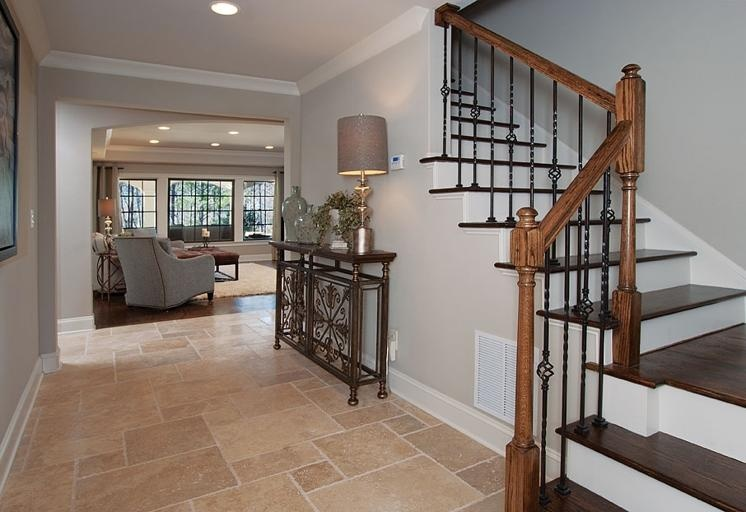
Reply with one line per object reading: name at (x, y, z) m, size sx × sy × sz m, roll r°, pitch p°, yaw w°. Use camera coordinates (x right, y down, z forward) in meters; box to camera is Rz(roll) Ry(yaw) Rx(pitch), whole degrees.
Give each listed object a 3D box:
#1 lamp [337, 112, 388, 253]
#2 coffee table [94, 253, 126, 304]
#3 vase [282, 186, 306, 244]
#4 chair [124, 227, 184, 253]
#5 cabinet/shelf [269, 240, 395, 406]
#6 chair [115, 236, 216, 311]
lamp at (-0.084, -0.613, 4.293) m, size 0.412 × 1.096 × 0.475 m, roll 1°, pitch 13°, yaw 2°
coffee table at (-4.120, 0.321, 8.027) m, size 0.611 × 0.689 × 0.623 m, roll 6°, pitch 9°, yaw -24°
vase at (-0.777, -0.413, 5.093) m, size 0.228 × 0.544 × 0.421 m, roll -5°, pitch 14°, yaw -21°
chair at (-3.660, -0.274, 8.398) m, size 0.701 × 0.622 × 0.676 m, roll 0°, pitch 5°, yaw -9°
cabinet/shelf at (-0.337, 0.611, 4.512) m, size 0.294 × 0.917 × 1.316 m, roll 0°, pitch 3°, yaw -32°
chair at (-2.927, 0.193, 7.230) m, size 0.840 × 1.024 × 1.160 m, roll 4°, pitch 9°, yaw 19°
